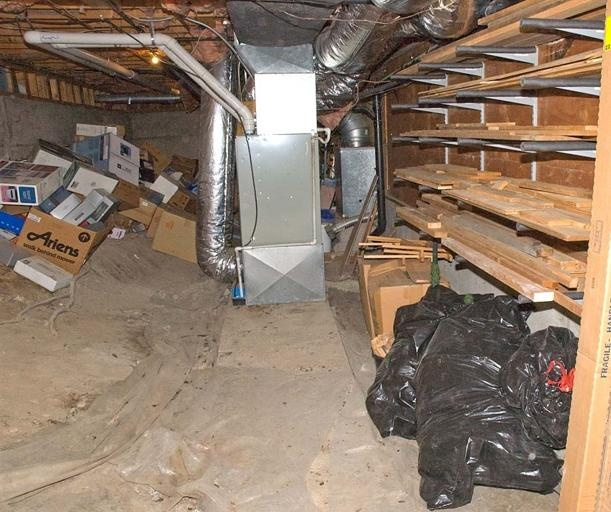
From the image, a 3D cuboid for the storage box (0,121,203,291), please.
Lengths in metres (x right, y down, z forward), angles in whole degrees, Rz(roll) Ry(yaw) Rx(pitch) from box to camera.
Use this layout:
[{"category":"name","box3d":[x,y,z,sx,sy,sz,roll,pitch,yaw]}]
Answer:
[{"category":"storage box","box3d":[-3.543,-1.298,8.271,3.672,2.909,0.822,23,-42,-22]}]

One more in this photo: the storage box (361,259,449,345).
[{"category":"storage box","box3d":[0.830,0.257,4.449,0.746,0.800,1.211,-2,9,2]}]
